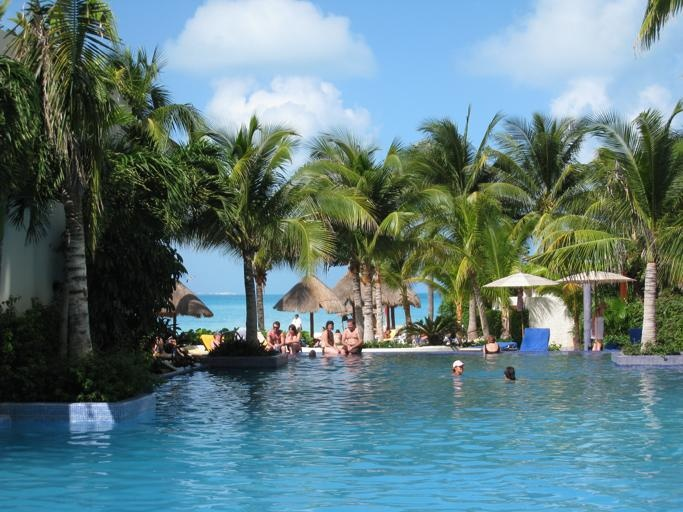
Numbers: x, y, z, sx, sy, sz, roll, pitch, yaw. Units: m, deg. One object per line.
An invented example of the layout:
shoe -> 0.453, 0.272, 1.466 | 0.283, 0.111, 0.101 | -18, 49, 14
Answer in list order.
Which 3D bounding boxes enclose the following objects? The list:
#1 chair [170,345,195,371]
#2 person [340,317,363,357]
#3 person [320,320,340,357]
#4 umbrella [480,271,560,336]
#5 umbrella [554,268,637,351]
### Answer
chair -> -4.873, 3.023, 20.783 | 0.504, 0.365, 0.702 | 0, 2, -5
person -> 0.385, 3.060, 26.311 | 0.738, 1.356, 1.447 | -1, -8, -1
person -> -0.402, 3.159, 26.735 | 0.711, 1.375, 1.468 | -1, -8, -3
umbrella -> 7.543, 1.838, 28.486 | 2.321, 2.597, 4.708 | -3, -8, 14
umbrella -> 9.828, 2.091, 26.583 | 1.896, 2.966, 3.768 | -5, -9, 26
